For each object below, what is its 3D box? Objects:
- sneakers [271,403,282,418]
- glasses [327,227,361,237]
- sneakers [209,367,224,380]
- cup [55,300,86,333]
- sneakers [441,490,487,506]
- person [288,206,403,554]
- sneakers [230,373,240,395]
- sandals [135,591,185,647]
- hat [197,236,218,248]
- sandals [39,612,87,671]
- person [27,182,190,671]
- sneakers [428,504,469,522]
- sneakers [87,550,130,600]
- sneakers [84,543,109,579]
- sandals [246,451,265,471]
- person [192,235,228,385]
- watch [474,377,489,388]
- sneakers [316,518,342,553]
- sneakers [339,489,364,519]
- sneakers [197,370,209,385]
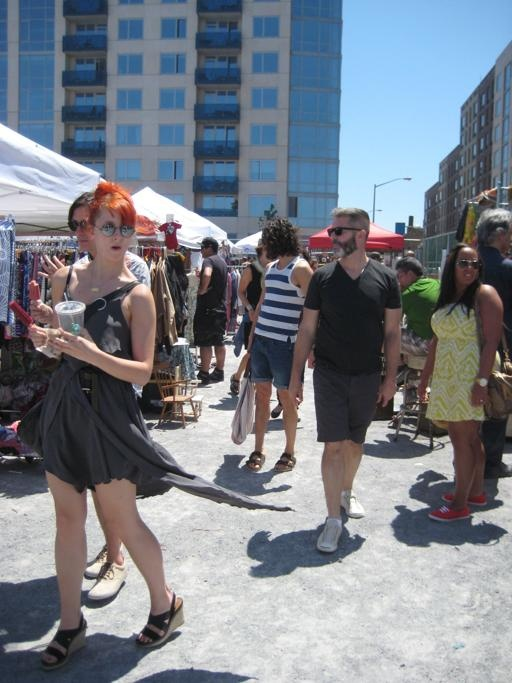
[{"bbox_3d":[0.238,0.795,7.575,0.092,0.096,0.249,10,44,7],"label":"sneakers"},{"bbox_3d":[0.502,-0.643,3.900,0.107,0.029,0.099,2,0,-6],"label":"glasses"},{"bbox_3d":[-0.601,0.495,10.205,0.141,0.148,0.224,3,21,-9],"label":"sneakers"},{"bbox_3d":[-0.673,-0.082,2.419,0.093,0.116,0.152,0,5,-17],"label":"cup"},{"bbox_3d":[1.417,1.089,4.645,0.340,0.126,0.112,3,1,0],"label":"sneakers"},{"bbox_3d":[0.560,0.188,3.987,0.643,1.935,0.581,0,6,-26],"label":"person"},{"bbox_3d":[-0.281,0.576,8.858,0.121,0.295,0.095,-3,11,-4],"label":"sneakers"},{"bbox_3d":[-0.392,1.161,2.770,0.094,0.091,0.268,-1,9,35],"label":"sandals"},{"bbox_3d":[-0.675,-1.421,9.811,0.225,0.200,0.224,1,5,-6],"label":"hat"},{"bbox_3d":[-0.730,1.165,2.547,0.081,0.088,0.222,-5,-12,9],"label":"sandals"},{"bbox_3d":[-0.579,0.289,2.673,0.618,1.870,0.480,0,5,-19],"label":"person"},{"bbox_3d":[1.239,1.093,4.292,0.276,0.081,0.095,1,0,-11],"label":"sneakers"},{"bbox_3d":[-0.728,1.132,3.232,0.107,0.118,0.307,4,-6,2],"label":"sneakers"},{"bbox_3d":[-0.795,1.107,3.321,0.087,0.096,0.249,10,-8,1],"label":"sneakers"},{"bbox_3d":[-0.001,0.968,5.394,0.132,0.106,0.368,-1,-4,7],"label":"sandals"},{"bbox_3d":[-0.677,-0.456,9.894,0.486,2.138,0.706,2,5,-6],"label":"person"},{"bbox_3d":[1.433,0.261,4.253,0.073,0.060,0.047,3,5,12],"label":"watch"},{"bbox_3d":[0.419,1.096,3.836,0.124,0.143,0.290,3,5,11],"label":"sneakers"},{"bbox_3d":[0.630,1.065,4.407,0.084,0.088,0.226,-4,15,-12],"label":"sneakers"},{"bbox_3d":[-0.784,0.527,9.841,0.226,0.222,0.124,9,9,35],"label":"sneakers"}]
